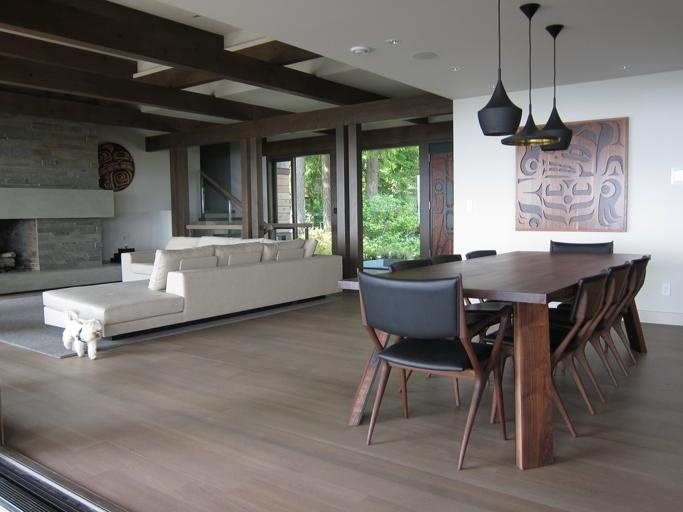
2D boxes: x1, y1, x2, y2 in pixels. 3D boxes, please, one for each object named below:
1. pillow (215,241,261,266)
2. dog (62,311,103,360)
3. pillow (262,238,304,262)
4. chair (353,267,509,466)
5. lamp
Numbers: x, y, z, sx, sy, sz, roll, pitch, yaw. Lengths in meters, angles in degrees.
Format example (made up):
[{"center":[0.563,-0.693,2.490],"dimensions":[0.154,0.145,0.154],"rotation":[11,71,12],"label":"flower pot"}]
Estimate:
[{"center":[-1.313,-0.079,6.056],"dimensions":[0.370,0.138,0.346],"rotation":[-2,11,-30],"label":"pillow"},{"center":[-2.425,0.748,4.515],"dimensions":[0.630,0.363,0.218],"rotation":[6,0,43],"label":"dog"},{"center":[-0.774,-0.079,6.521],"dimensions":[0.402,0.246,0.358],"rotation":[-3,8,-34],"label":"pillow"},{"center":[0.534,0.598,2.820],"dimensions":[0.714,0.962,0.721],"rotation":[1,3,31],"label":"chair"},{"center":[1.732,-1.709,4.455],"dimensions":[0.496,1.088,1.213],"rotation":[-1,-4,33],"label":"lamp"}]
